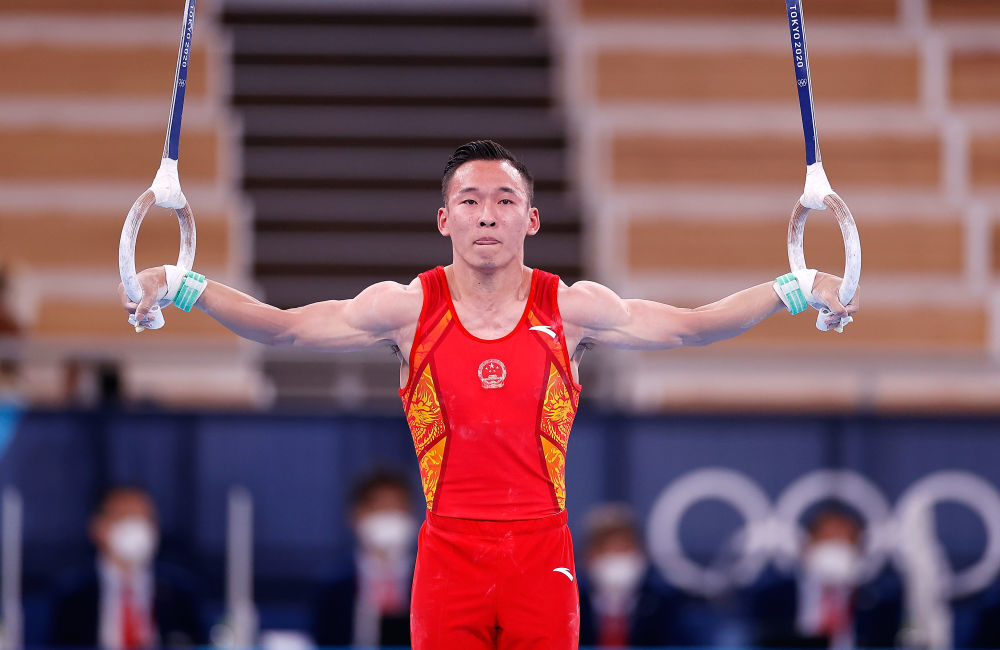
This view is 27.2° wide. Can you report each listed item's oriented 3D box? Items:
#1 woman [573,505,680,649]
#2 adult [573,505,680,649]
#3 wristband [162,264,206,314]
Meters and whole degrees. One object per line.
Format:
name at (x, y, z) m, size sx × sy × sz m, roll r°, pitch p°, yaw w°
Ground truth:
woman at (0.788, 1.653, 13.251) m, size 0.719 × 0.890 × 0.296 m, roll 2°, pitch 5°, yaw 5°
adult at (0.783, 1.639, 13.286) m, size 0.719 × 0.890 × 0.296 m, roll 2°, pitch 5°, yaw 5°
wristband at (-1.854, -0.193, 11.995) m, size 0.217 × 0.261 × 0.142 m, roll 27°, pitch -13°, yaw -9°
